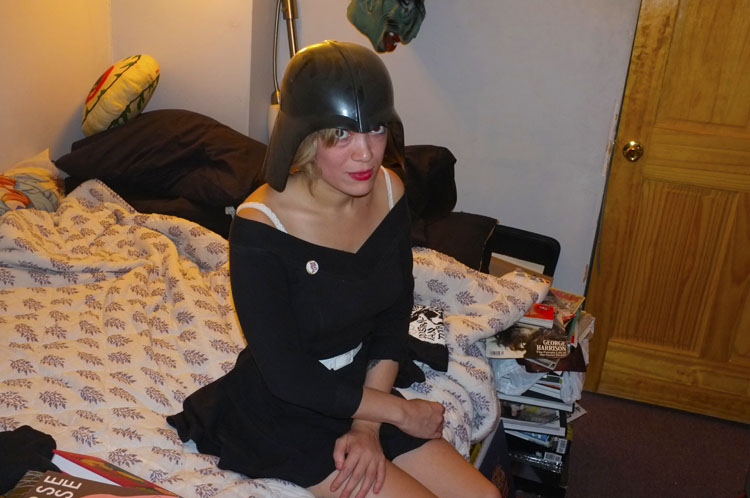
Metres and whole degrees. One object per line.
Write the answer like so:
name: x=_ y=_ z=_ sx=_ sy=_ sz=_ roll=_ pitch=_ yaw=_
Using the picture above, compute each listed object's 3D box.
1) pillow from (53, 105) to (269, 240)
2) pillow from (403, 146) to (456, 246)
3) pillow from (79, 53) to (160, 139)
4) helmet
pillow: x=-1.068 y=-0.547 z=3.068 sx=0.977 sy=0.295 sz=0.783 roll=-5 pitch=7 yaw=-6
pillow: x=0.249 y=-0.259 z=2.688 sx=0.119 sy=0.406 sz=0.408 roll=12 pitch=15 yaw=40
pillow: x=-1.217 y=-0.709 z=2.937 sx=0.183 sy=0.397 sz=0.394 roll=42 pitch=-10 yaw=-8
helmet: x=-0.170 y=-0.405 z=1.723 sx=0.369 sy=0.350 sz=0.405 roll=-11 pitch=26 yaw=-31
